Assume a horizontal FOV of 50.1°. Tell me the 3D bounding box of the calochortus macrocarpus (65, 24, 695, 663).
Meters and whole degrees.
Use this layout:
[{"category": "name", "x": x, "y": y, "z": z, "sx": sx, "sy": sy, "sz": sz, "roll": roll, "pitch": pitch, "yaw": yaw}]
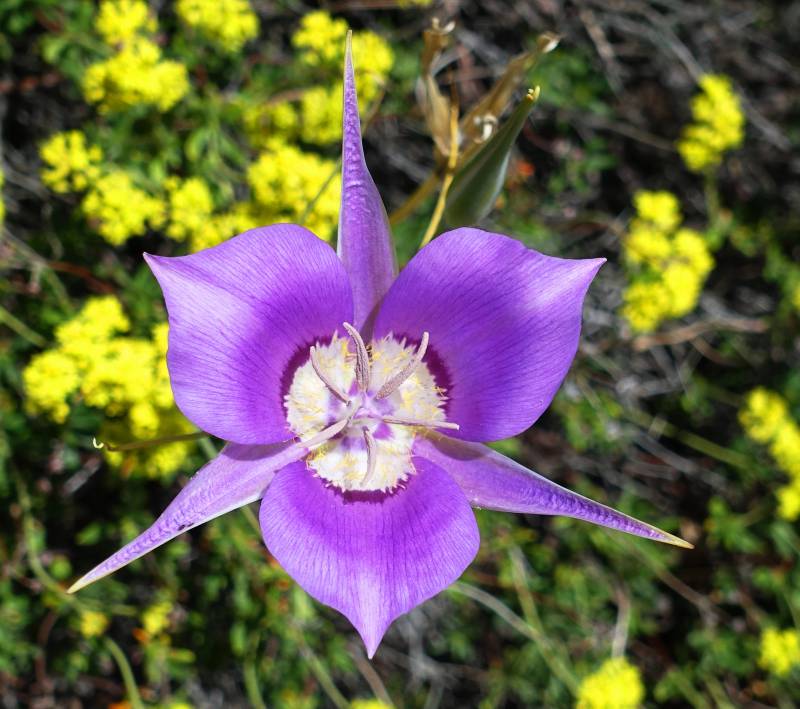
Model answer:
[{"category": "calochortus macrocarpus", "x": -0.230, "y": 0.045, "z": 2.593, "sx": 1.947, "sy": 0.359, "sz": 1.531, "roll": -17, "pitch": 71, "yaw": 4}]
